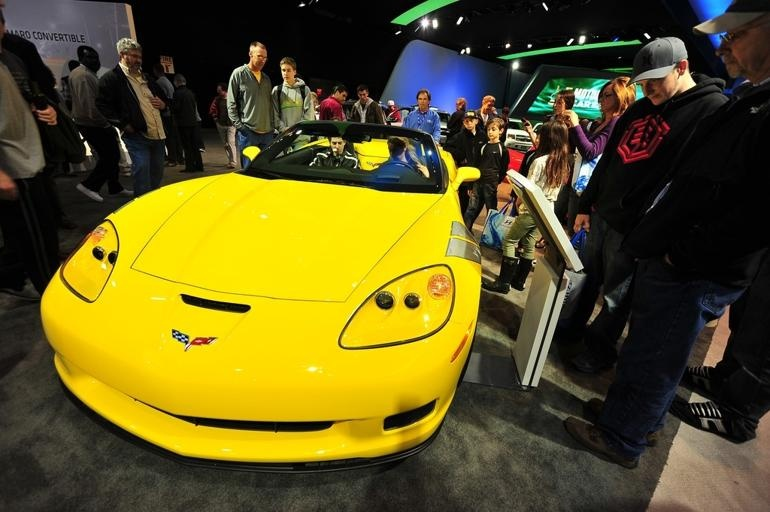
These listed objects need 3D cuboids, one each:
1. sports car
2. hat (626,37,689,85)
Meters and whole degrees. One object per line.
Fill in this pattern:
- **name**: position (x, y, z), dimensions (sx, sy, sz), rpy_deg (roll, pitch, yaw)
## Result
- **sports car**: position (-0.487, 0.036, 3.427), dimensions (1.610, 0.936, 2.876), rpy_deg (10, 30, 8)
- **hat**: position (1.866, -1.374, 3.348), dimensions (0.442, 0.230, 0.292), rpy_deg (-30, 29, -14)
